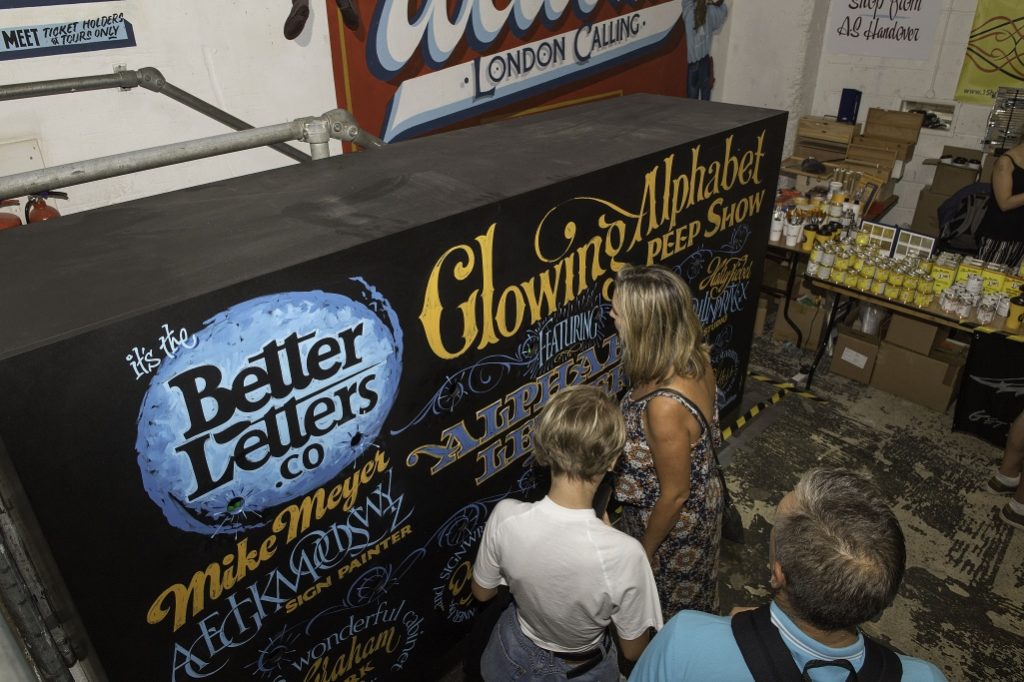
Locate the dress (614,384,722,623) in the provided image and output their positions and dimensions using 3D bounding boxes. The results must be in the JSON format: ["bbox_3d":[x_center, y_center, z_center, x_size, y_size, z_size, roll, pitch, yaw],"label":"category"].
[{"bbox_3d":[0.749,0.783,3.165,0.488,1.328,0.592,10,45,25],"label":"dress"}]

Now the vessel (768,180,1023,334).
[{"bbox_3d":[3.465,-0.602,5.663,1.599,0.598,0.557,23,34,39],"label":"vessel"}]

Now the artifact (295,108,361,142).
[{"bbox_3d":[-0.966,-1.098,3.372,0.306,0.121,0.182,-10,60,-32],"label":"artifact"}]
